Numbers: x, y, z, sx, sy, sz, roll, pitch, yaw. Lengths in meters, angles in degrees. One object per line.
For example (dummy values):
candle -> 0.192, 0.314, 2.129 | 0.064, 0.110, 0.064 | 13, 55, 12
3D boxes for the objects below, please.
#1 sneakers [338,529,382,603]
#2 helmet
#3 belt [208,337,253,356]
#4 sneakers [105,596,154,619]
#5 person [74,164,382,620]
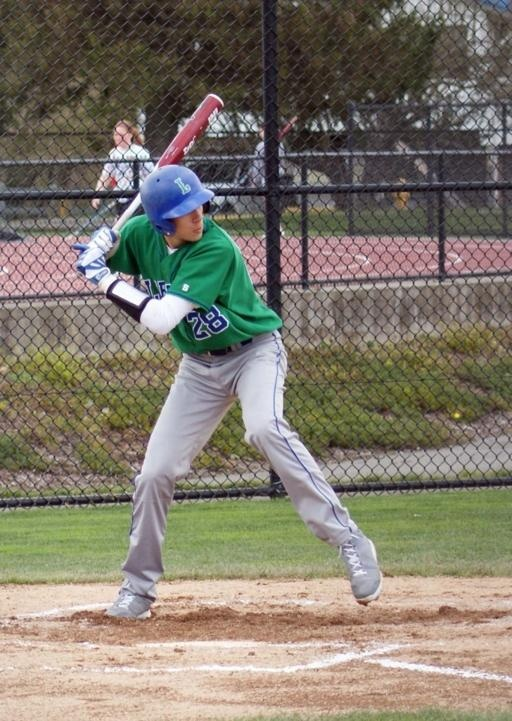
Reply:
sneakers -> 0.388, 0.782, 3.765 | 0.146, 0.298, 0.187 | -1, 5, 4
helmet -> -0.289, -0.584, 3.618 | 0.258, 0.259, 0.229 | -2, 5, -6
belt -> -0.094, -0.043, 3.751 | 0.100, 0.031, 0.090 | -17, 10, 8
sneakers -> -0.475, 0.951, 3.874 | 0.207, 0.073, 0.073 | 13, -4, -30
person -> -0.139, 0.136, 3.790 | 1.010, 1.728, 0.598 | -2, 6, -11
